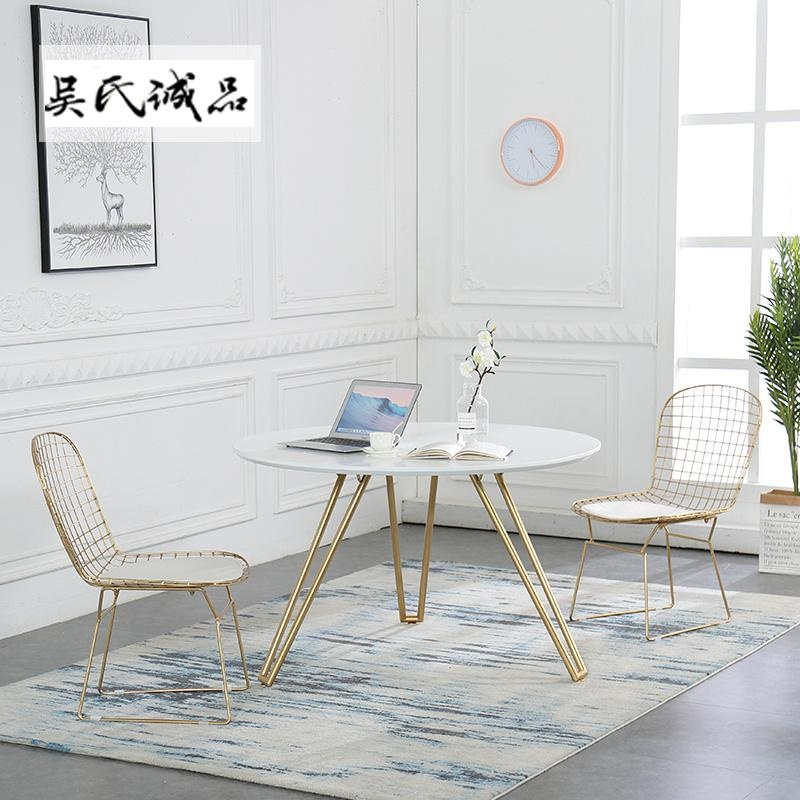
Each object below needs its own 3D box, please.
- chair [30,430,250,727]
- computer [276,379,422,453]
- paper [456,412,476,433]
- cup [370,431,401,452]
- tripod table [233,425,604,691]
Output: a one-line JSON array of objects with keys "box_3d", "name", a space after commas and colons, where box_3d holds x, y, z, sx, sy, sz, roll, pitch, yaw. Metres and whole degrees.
[{"box_3d": [-0.786, 0.542, 2.603, 0.710, 0.764, 0.484, 5, -2, -1], "name": "chair"}, {"box_3d": [-0.152, 0.059, 2.810, 0.324, 0.180, 0.335, 6, 15, 40], "name": "computer"}, {"box_3d": [0.232, 0.076, 2.945, 0.073, 0.058, 0.063, 1, 6, 4], "name": "paper"}, {"box_3d": [-0.049, 0.134, 2.661, 0.083, 0.048, 0.058, 3, 4, 6], "name": "cup"}, {"box_3d": [0.091, 0.440, 2.961, 1.162, 0.599, 1.024, 2, 9, 12], "name": "tripod table"}]
